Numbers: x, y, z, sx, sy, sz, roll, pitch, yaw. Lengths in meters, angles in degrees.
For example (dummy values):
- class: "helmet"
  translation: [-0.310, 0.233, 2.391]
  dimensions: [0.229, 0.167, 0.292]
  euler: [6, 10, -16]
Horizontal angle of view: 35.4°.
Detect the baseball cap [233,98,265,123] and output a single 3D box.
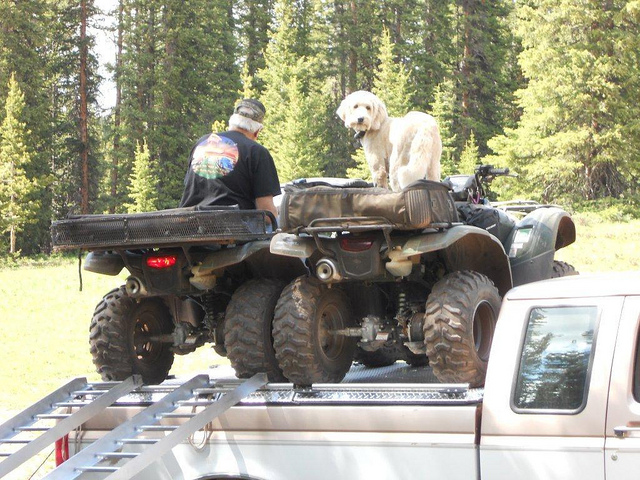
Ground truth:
- class: "baseball cap"
  translation: [-0.990, -1.866, 14.735]
  dimensions: [0.263, 0.252, 0.437]
  euler: [11, -26, 24]
